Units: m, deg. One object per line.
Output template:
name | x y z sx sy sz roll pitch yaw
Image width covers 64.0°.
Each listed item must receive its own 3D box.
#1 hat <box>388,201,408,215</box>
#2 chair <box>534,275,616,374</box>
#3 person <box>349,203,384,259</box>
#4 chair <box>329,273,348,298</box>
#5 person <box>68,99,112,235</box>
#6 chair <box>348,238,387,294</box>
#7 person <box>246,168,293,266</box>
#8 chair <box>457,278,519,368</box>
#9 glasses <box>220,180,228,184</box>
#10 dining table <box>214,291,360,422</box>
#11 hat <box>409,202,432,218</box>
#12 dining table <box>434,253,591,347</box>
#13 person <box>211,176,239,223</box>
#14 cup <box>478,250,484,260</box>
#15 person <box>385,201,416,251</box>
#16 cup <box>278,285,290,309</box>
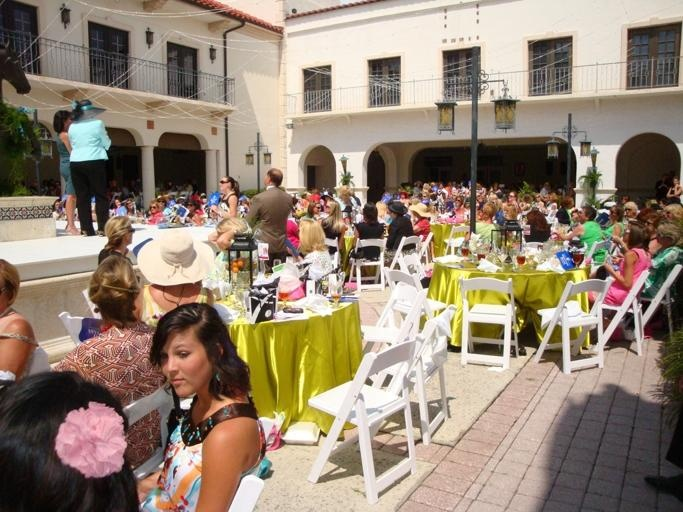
hat | 0.988 -0.848 9.775 0.305 0.274 0.373 2 13 4
chair | 2.603 0.715 6.108 0.932 1.105 0.701 -10 17 -40
person | 0.503 -0.429 10.041 0.548 1.117 0.615 1 10 -8
chair | -0.032 0.258 4.950 0.158 0.316 0.183 -1 4 -7
person | -3.365 -1.148 7.364 0.499 1.855 0.708 -5 14 -27
chair | 0.504 0.104 10.039 0.595 1.238 0.941 -2 31 0
person | -0.984 -0.528 7.607 0.639 1.355 0.466 -3 13 -17
chair | 1.681 0.621 6.277 0.653 1.359 0.988 2 17 22
glasses | -2.020 -1.290 9.442 0.109 0.042 0.111 4 1 -30
dining table | -0.339 0.846 4.625 0.805 0.647 0.909 -2 6 3
hat | 1.616 -0.969 11.457 0.352 0.124 0.370 35 8 -10
dining table | 1.882 0.438 6.476 1.137 0.706 1.244 -1 4 32
person | -2.045 -0.868 9.625 0.480 1.049 0.668 3 2 -28
cup | 1.728 0.012 6.799 0.066 0.087 0.072 0 7 0
person | 0.908 -0.489 9.960 0.563 0.929 0.640 -3 17 -11
cup | -0.477 0.367 4.770 0.105 0.205 0.129 0 -2 -2
